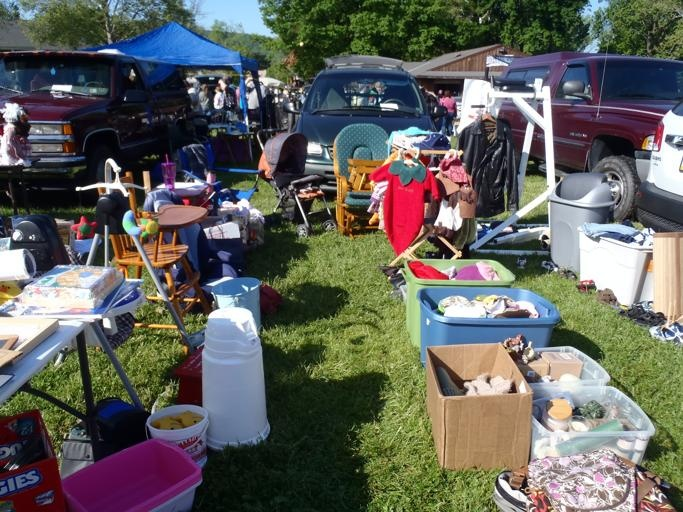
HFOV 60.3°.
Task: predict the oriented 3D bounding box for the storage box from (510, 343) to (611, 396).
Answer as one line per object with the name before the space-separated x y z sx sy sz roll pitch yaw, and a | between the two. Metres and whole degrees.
storage box | 1.548 0.839 4.361 0.461 0.170 0.374 -1 29 -46

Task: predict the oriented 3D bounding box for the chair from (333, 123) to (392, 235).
chair | 0.268 -0.966 7.478 0.701 1.327 0.904 -2 18 0

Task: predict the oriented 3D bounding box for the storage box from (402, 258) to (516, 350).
storage box | 1.015 0.347 5.234 0.850 0.603 0.716 1 23 -4

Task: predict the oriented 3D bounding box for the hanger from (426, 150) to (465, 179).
hanger | 1.118 -0.971 6.145 0.301 0.181 0.429 2 16 6

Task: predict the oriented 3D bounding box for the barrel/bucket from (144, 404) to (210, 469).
barrel/bucket | -1.006 1.217 3.920 0.279 0.277 0.236 14 52 -12

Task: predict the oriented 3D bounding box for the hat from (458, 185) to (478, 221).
hat | 1.276 -0.572 5.908 0.238 0.116 0.347 -12 55 2

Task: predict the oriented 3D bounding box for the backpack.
backpack | -2.313 -0.139 4.458 0.370 0.476 0.373 6 31 -2

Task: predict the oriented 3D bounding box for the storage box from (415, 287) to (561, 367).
storage box | 1.153 0.467 4.669 0.844 0.467 0.676 0 21 -1

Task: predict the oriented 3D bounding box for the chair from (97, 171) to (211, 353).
chair | -1.630 0.013 5.079 0.741 1.512 0.712 -1 14 -1

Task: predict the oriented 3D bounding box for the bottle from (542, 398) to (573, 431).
bottle | 1.450 1.061 4.002 0.165 0.181 0.183 -1 31 -1

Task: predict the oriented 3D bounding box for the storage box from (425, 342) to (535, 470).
storage box | 0.950 1.014 4.252 0.534 0.573 0.830 -2 13 4

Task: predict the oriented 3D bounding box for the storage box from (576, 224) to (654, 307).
storage box | 2.879 0.085 5.883 0.473 0.631 0.764 -10 19 -16

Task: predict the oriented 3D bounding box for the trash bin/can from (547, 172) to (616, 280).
trash bin/can | 2.645 -0.384 6.605 0.546 0.988 0.627 6 20 22

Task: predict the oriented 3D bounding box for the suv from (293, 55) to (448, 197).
suv | 0.326 -2.130 9.112 1.450 1.421 2.636 1 22 3

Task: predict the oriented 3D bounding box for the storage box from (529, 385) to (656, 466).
storage box | 1.642 1.181 3.825 0.652 0.555 0.255 -13 19 -6

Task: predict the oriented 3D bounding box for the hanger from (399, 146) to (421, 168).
hanger | 0.705 -1.039 6.070 0.163 0.101 0.254 0 34 -3

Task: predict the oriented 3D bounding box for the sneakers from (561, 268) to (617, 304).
sneakers | 2.538 0.300 5.979 0.159 0.067 0.457 -18 29 -20

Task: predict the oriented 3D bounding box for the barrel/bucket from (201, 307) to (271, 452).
barrel/bucket | -0.753 0.854 4.146 0.450 0.864 0.494 -3 14 1

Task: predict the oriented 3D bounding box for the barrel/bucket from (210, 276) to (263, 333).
barrel/bucket | -0.917 0.358 5.228 0.403 0.389 0.487 0 20 1
